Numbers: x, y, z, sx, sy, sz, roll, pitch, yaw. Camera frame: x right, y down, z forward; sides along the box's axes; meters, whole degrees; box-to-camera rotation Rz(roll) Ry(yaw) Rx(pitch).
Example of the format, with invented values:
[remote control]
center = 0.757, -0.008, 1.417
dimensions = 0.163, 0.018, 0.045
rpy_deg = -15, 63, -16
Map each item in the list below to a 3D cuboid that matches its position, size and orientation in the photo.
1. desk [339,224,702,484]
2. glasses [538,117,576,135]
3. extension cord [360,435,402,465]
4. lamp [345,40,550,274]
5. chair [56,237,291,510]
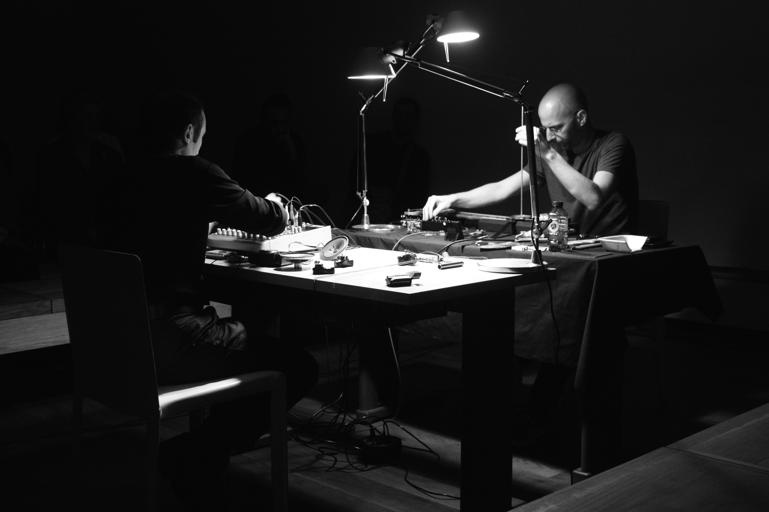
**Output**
[desk]
center = 0.853, 0.285, 2.925
dimensions = 0.969, 0.626, 1.275
rpy_deg = -7, 10, -36
[glasses]
center = 0.950, -0.720, 3.438
dimensions = 0.149, 0.082, 0.203
rpy_deg = 3, 8, 25
[extension cord]
center = -0.022, 0.945, 3.007
dimensions = 0.130, 0.051, 0.130
rpy_deg = -2, -1, -14
[lamp]
center = 0.270, -0.607, 3.377
dimensions = 1.252, 1.069, 0.521
rpy_deg = 6, 12, 41
[chair]
center = -0.937, 0.388, 2.816
dimensions = 0.962, 1.519, 0.875
rpy_deg = -5, 7, -40
